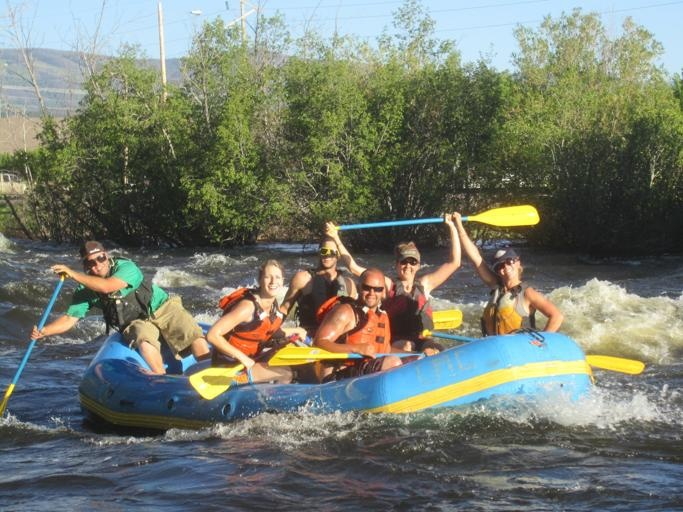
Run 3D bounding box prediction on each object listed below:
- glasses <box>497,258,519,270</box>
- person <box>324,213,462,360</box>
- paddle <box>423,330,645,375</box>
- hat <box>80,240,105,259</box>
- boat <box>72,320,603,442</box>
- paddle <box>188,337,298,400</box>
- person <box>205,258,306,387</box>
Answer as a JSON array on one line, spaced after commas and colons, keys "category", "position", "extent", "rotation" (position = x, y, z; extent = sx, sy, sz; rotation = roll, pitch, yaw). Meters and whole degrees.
[{"category": "glasses", "position": [1.817, 0.072, 9.268], "extent": [0.241, 0.113, 0.099], "rotation": [-1, 11, 6]}, {"category": "person", "position": [0.662, 0.361, 9.709], "extent": [1.638, 1.605, 1.111], "rotation": [-1, 3, -10]}, {"category": "paddle", "position": [2.170, 1.096, 9.535], "extent": [2.681, 0.278, 0.119], "rotation": [12, -15, -10]}, {"category": "hat", "position": [-2.887, -0.082, 9.740], "extent": [0.178, 0.143, 0.233], "rotation": [-22, 14, -15]}, {"category": "boat", "position": [-0.236, 1.411, 9.112], "extent": [4.075, 0.875, 2.142], "rotation": [-3, 0, 27]}, {"category": "paddle", "position": [-1.232, 1.180, 9.569], "extent": [1.405, 0.184, 0.436], "rotation": [17, 15, 42]}, {"category": "person", "position": [-1.090, 0.849, 10.536], "extent": [1.154, 1.958, 1.154], "rotation": [7, 15, 16]}]
